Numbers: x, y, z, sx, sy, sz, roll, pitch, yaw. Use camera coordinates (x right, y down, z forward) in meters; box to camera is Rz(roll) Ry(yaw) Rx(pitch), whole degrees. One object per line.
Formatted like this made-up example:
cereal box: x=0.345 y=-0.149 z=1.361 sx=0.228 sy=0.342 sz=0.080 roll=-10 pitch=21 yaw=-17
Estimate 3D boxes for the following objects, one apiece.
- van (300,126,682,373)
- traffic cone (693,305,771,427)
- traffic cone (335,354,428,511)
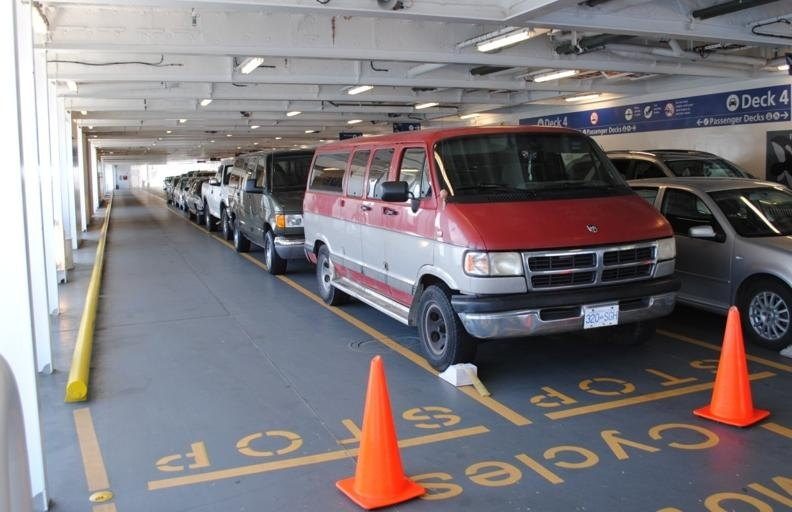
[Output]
van: x=0.907 y=-0.716 z=8.023 sx=3.791 sy=2.358 sz=6.394 roll=-8 pitch=14 yaw=-24
traffic cone: x=3.530 y=1.123 z=4.775 sx=0.585 sy=1.194 sz=0.588 roll=5 pitch=18 yaw=43
traffic cone: x=-0.195 y=1.432 z=3.727 sx=0.708 sy=1.203 sz=0.326 roll=-9 pitch=13 yaw=-10
